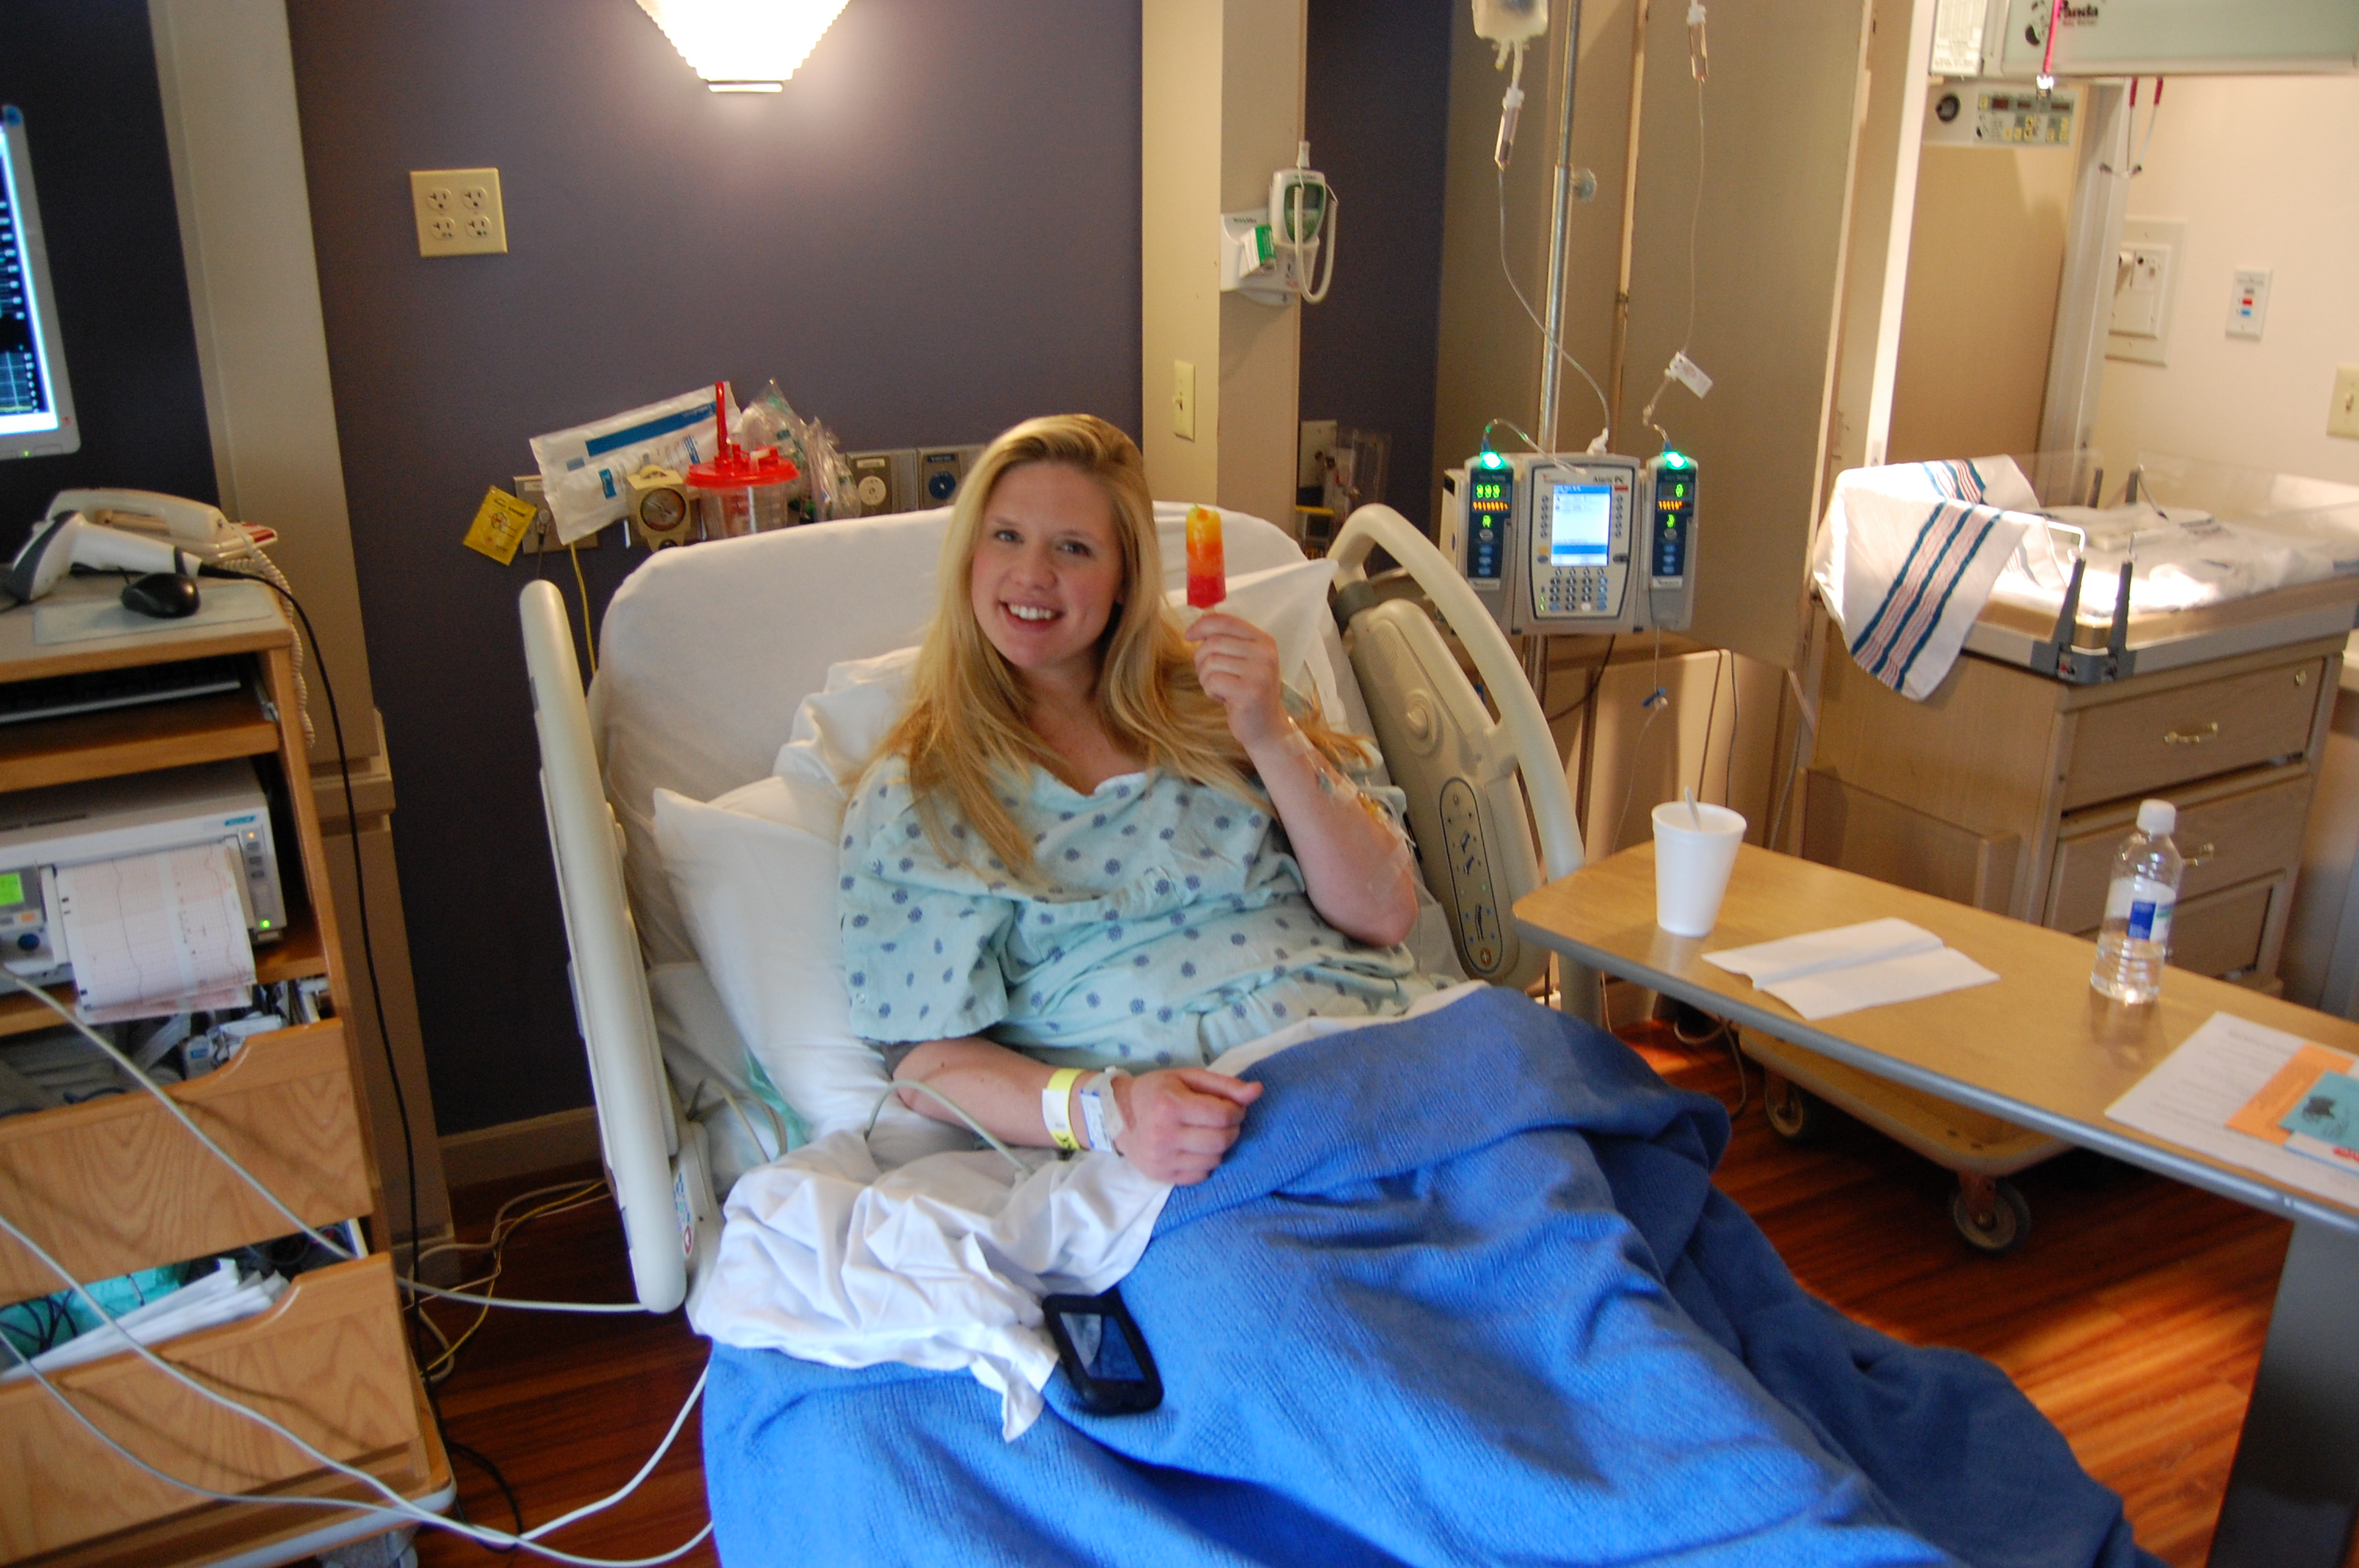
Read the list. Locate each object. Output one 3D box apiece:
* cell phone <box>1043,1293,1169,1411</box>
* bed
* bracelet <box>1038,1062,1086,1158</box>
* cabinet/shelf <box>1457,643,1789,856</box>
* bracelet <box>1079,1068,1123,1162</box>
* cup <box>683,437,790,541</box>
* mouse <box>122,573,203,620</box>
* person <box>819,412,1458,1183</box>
[{"bbox_3d":[-0.094,0.685,1.870,0.128,0.091,0.125,-7,20,-9],"label":"cell phone"},{"bbox_3d":[-0.201,0.102,2.473,1.317,0.872,0.963,-6,28,-12],"label":"bed"},{"bbox_3d":[-0.155,0.424,2.020,0.069,0.095,0.047,8,-1,-12],"label":"bracelet"},{"bbox_3d":[0.850,-0.082,3.033,0.372,0.388,0.199,-3,20,-5],"label":"cabinet/shelf"},{"bbox_3d":[-0.101,0.424,1.988,0.061,0.087,0.060,-2,0,-10],"label":"bracelet"},{"bbox_3d":[-0.791,-0.526,2.885,0.177,0.185,0.185,1,22,0],"label":"cup"},{"bbox_3d":[-1.414,-0.254,2.152,0.082,0.056,0.072,-19,25,-36],"label":"mouse"},{"bbox_3d":[-0.069,0.076,2.301,0.858,0.422,1.261,-9,50,-21],"label":"person"}]
